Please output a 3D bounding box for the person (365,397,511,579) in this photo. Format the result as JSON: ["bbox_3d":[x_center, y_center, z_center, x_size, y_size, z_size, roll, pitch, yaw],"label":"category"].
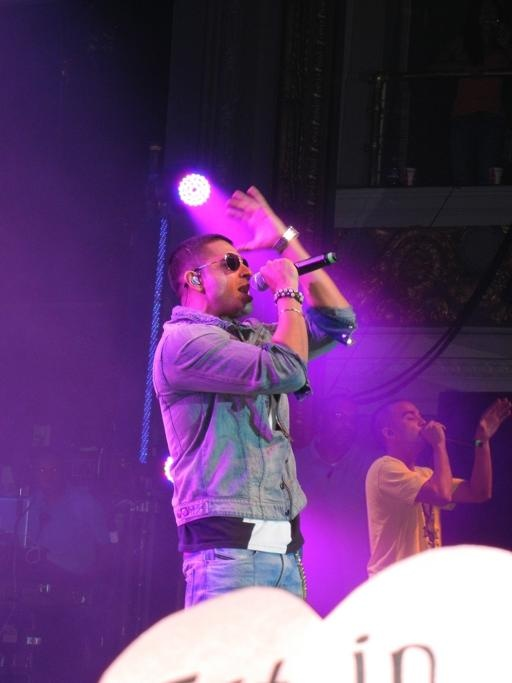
[{"bbox_3d":[0.711,0.555,2.754,0.397,0.847,0.301,-28,-39,36],"label":"person"}]

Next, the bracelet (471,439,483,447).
[{"bbox_3d":[0.955,0.436,3.098,0.051,0.034,0.034,-5,6,7],"label":"bracelet"}]

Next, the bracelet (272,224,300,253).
[{"bbox_3d":[0.087,-0.300,2.084,0.017,0.073,0.068,36,-59,-4],"label":"bracelet"}]

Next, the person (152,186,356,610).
[{"bbox_3d":[0.016,0.296,1.729,0.346,1.241,0.422,-9,-6,43],"label":"person"}]
